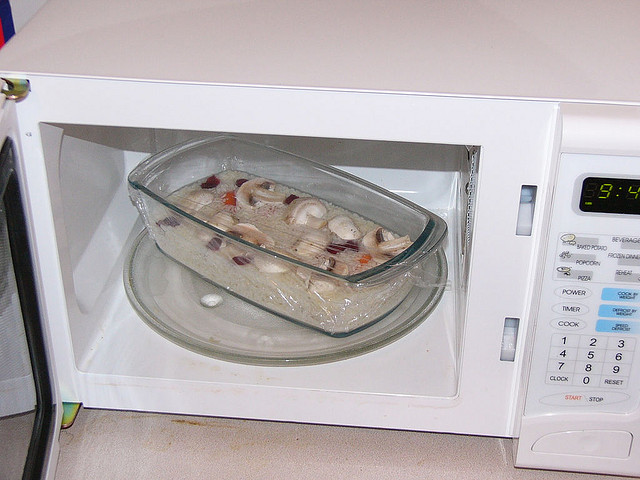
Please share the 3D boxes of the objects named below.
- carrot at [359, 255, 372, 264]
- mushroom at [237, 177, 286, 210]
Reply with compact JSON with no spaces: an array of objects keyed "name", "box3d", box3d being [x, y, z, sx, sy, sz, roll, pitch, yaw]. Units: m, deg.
[{"name":"carrot","box3d":[0.050,0.021,0.549,0.009,0.002,0.009,2,35,13]},{"name":"mushroom","box3d":[-0.074,-0.061,0.635,0.048,0.014,0.044,11,39,19]}]
